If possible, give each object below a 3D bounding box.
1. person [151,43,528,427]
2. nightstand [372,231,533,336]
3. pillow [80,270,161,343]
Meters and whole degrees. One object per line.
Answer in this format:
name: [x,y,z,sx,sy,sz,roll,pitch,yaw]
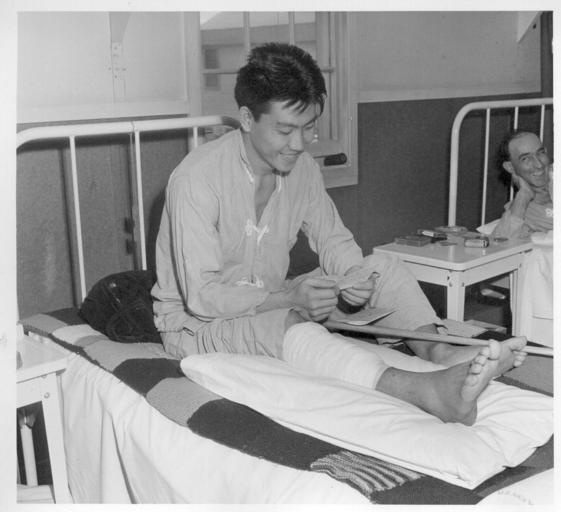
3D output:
person: [0.130,-0.067,1.375,1.000,0.906,0.571,14,22,40]
nightstand: [0.616,-0.012,1.959,0.328,0.438,0.421,5,10,39]
pillow: [-0.439,0.099,1.527,0.201,0.079,0.184,23,28,25]
